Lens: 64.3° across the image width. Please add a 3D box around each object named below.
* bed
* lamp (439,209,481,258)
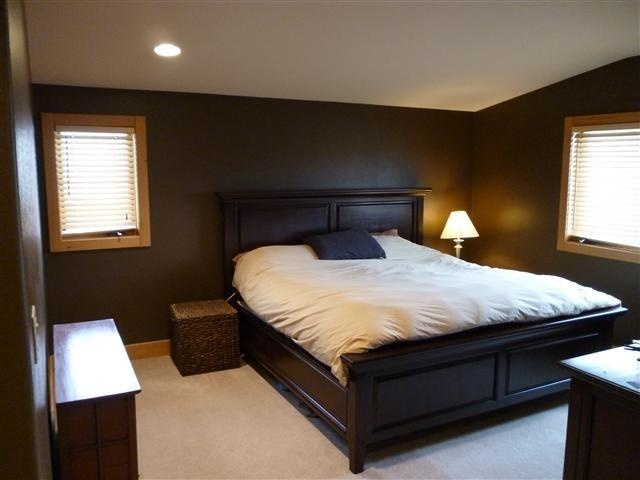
[{"bbox_3d":[0.369,0.780,4.113,2.297,1.551,2.336,-4,6,-26],"label":"bed"},{"bbox_3d":[1.503,-0.073,5.750,0.479,0.783,0.505,-1,0,-3],"label":"lamp"}]
